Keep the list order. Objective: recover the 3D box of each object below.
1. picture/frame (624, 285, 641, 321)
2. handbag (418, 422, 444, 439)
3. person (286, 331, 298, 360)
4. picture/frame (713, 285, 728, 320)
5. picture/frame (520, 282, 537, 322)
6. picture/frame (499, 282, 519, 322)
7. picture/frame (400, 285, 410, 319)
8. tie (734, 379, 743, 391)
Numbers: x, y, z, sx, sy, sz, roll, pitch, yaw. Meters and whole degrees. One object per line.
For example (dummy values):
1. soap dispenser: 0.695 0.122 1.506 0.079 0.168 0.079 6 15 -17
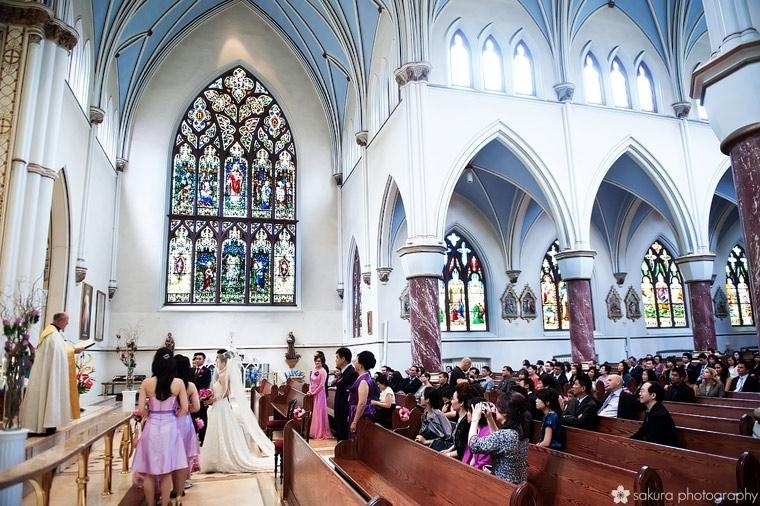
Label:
1. picture/frame: 11.211 2.185 23.375 0.888 1.527 0.249 4 -9 -25
2. handbag: 0.816 2.798 8.280 0.247 0.111 0.248 2 -3 -36
3. person: -3.464 3.664 21.007 0.473 1.080 0.405 2 -9 -15
4. picture/frame: 16.039 2.320 24.782 0.897 1.465 0.166 4 -9 -23
5. picture/frame: 6.204 2.027 22.037 0.788 1.444 0.243 5 -9 -27
6. picture/frame: 5.394 2.038 21.831 0.854 1.490 0.316 5 -9 -27
7. picture/frame: 0.900 1.830 19.615 0.332 1.227 0.151 3 -9 -19
8. tie: 8.831 3.240 12.965 0.126 0.258 0.140 12 -21 -4
